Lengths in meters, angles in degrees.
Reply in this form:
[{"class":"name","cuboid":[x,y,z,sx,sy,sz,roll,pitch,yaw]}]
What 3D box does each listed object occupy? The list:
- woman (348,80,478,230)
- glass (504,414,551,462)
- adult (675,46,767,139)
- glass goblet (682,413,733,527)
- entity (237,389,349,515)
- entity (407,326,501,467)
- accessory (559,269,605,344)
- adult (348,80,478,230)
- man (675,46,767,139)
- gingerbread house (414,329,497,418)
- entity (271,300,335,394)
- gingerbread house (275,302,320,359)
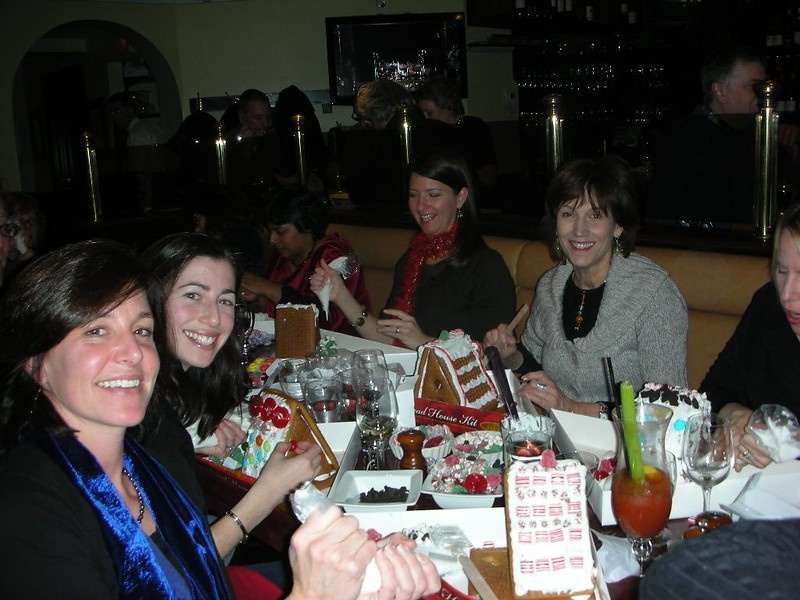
[{"class":"woman","cuboid":[0.006,-1.261,4.890,0.602,1.016,0.979,-11,11,-36]},{"class":"glass","cuboid":[0.325,0.347,1.550,0.107,0.110,0.132,-1,-6,3]},{"class":"adult","cuboid":[1.689,-1.098,3.182,0.362,0.430,0.696,4,16,30]},{"class":"glass goblet","cuboid":[0.733,0.412,1.445,0.103,0.262,0.095,-2,14,18]},{"class":"entity","cuboid":[-0.301,0.476,1.771,0.391,0.302,0.218,8,10,43]},{"class":"entity","cuboid":[0.202,0.260,2.089,0.239,0.303,0.249,-3,-1,33]},{"class":"accessory","cuboid":[0.776,0.042,2.629,0.147,0.318,0.063,7,35,15]},{"class":"adult","cuboid":[0.000,-1.263,4.892,0.582,1.007,0.963,-12,11,-37]},{"class":"man","cuboid":[1.689,-1.098,3.183,0.361,0.430,0.695,4,16,30]},{"class":"gingerbread house","cuboid":[0.175,0.249,2.157,0.241,0.288,0.281,-15,-12,40]},{"class":"entity","cuboid":[-0.445,0.160,2.486,0.242,0.449,0.293,0,-8,1]},{"class":"gingerbread house","cuboid":[-0.396,0.127,2.640,0.208,0.274,0.211,1,-2,-1]}]
